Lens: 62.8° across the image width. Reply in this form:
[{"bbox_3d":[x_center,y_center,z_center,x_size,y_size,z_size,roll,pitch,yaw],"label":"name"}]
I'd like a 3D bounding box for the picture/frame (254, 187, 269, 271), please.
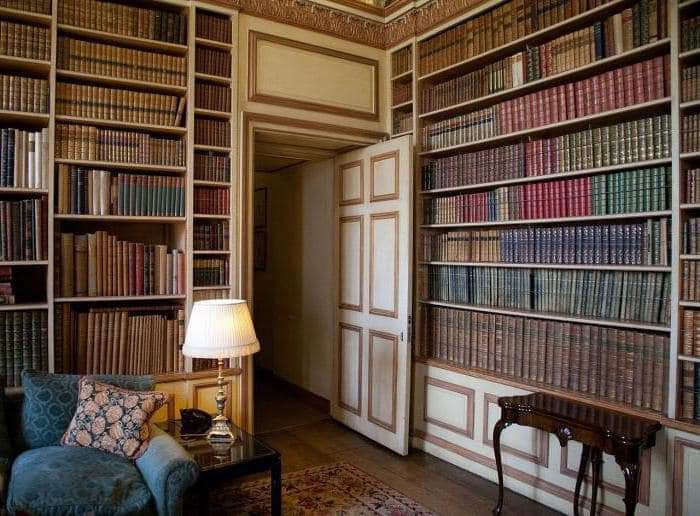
[{"bbox_3d":[-1.144,-0.372,7.429,0.031,1.084,0.371,-5,6,-37],"label":"picture/frame"}]

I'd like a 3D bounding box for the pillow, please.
[{"bbox_3d":[-1.565,1.049,3.670,0.514,0.513,0.158,18,-23,-1],"label":"pillow"}]
